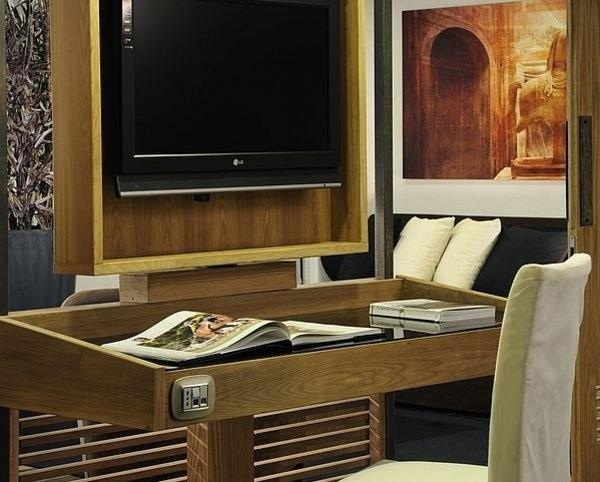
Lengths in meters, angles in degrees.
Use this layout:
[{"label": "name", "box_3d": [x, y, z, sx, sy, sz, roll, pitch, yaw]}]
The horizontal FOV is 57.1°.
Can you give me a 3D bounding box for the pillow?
[{"label": "pillow", "box_3d": [1.362, 0.070, 3.436, 0.157, 0.522, 0.523, 29, -14, -34]}]
